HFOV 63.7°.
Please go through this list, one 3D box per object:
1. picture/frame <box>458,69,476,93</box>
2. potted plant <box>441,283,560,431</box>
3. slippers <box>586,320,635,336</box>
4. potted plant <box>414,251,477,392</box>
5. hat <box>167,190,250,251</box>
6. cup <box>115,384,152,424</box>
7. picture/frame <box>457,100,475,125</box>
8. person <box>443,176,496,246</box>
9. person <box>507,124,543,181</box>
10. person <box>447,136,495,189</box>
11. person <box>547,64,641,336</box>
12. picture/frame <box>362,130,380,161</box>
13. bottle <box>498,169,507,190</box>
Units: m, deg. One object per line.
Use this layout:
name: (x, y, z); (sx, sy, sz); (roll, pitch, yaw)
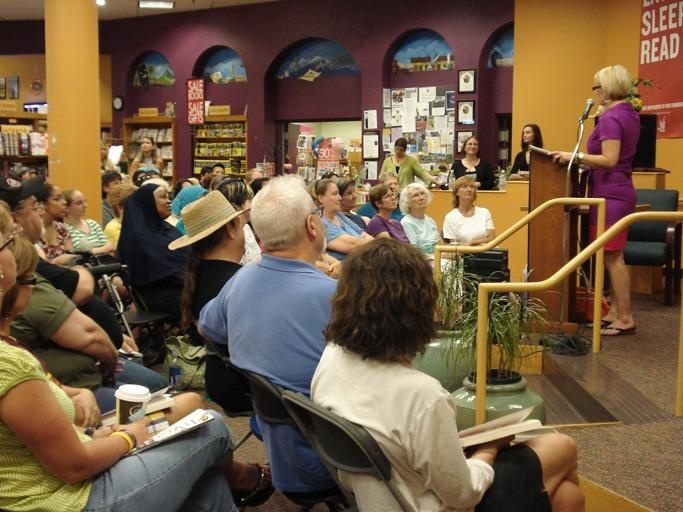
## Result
picture/frame: (2.646, -3.696, 11.541); (0.436, 0.554, 0.054); (2, 3, 31)
potted plant: (0.842, 0.604, 3.050); (0.499, 1.010, 0.580); (10, -7, -15)
slippers: (2.390, 0.625, 4.797); (0.314, 0.073, 0.178); (1, 0, -31)
potted plant: (0.639, 0.427, 3.400); (0.371, 0.952, 0.433); (11, 9, 11)
hat: (-0.808, -0.141, 3.358); (0.378, 0.152, 0.334); (-36, 12, -13)
cup: (-0.751, 0.525, 2.025); (0.114, 0.125, 0.122); (11, 4, -1)
picture/frame: (2.652, -3.066, 11.664); (0.458, 0.598, 0.042); (3, 5, 33)
person: (1.404, -0.479, 6.068); (0.565, 0.909, 0.482); (0, -3, -8)
person: (2.820, -1.527, 8.260); (0.450, 0.890, 0.512); (-1, 5, -38)
person: (2.016, -1.396, 8.535); (0.694, 0.950, 0.548); (2, 5, 13)
person: (2.315, -0.515, 4.988); (0.686, 2.314, 0.699); (3, 4, 44)
picture/frame: (0.689, -2.562, 12.596); (0.574, 0.894, 0.089); (5, 9, 35)
bottle: (2.213, -1.046, 7.541); (0.095, 0.280, 0.655); (1, 8, 14)
